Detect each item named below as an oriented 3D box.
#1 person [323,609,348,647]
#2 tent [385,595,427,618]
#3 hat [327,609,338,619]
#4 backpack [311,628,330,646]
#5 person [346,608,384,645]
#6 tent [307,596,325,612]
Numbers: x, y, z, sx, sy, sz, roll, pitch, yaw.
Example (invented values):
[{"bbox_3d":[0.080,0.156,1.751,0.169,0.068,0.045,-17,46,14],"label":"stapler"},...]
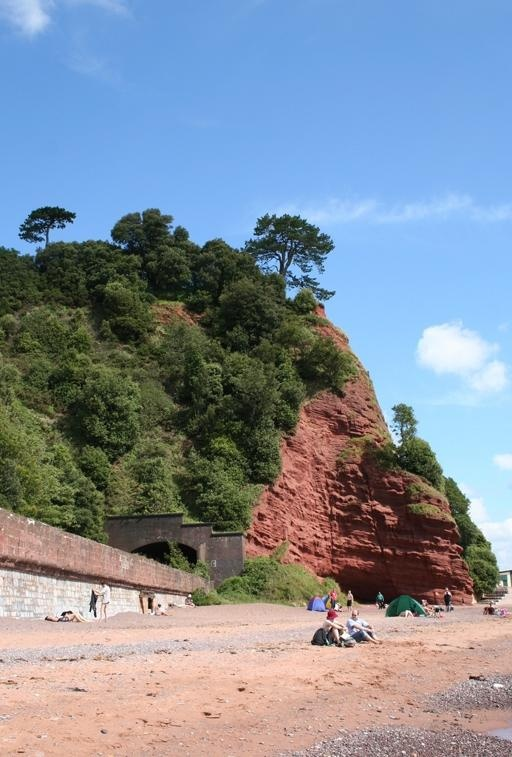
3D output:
[{"bbox_3d":[1.502,4.636,14.286,0.463,0.550,1.153,-2,-10,4],"label":"person"},{"bbox_3d":[5.588,8.272,27.659,1.144,0.423,1.024,3,-16,-7],"label":"tent"},{"bbox_3d":[1.456,4.494,14.511,0.220,0.097,0.220,1,6,39],"label":"hat"},{"bbox_3d":[1.206,4.755,14.086,0.332,0.254,0.315,-1,-11,4],"label":"backpack"},{"bbox_3d":[2.272,4.893,14.882,0.932,0.776,0.524,-9,-25,13],"label":"person"},{"bbox_3d":[2.319,8.665,29.419,0.621,0.395,0.690,3,-3,-26],"label":"tent"}]
